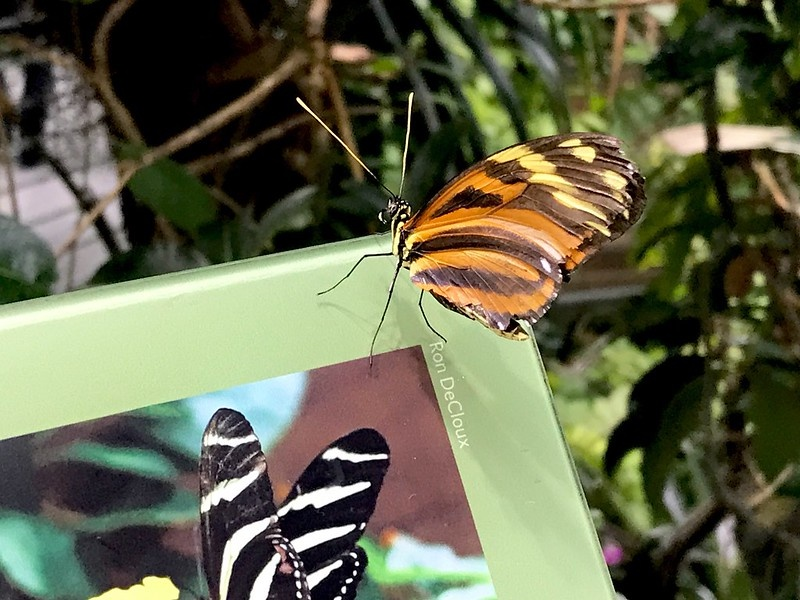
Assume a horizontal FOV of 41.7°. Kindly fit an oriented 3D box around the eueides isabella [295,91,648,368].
[{"bbox_3d":[0.129,-0.154,1.696,0.479,0.363,0.250,28,9,4],"label":"eueides isabella"}]
